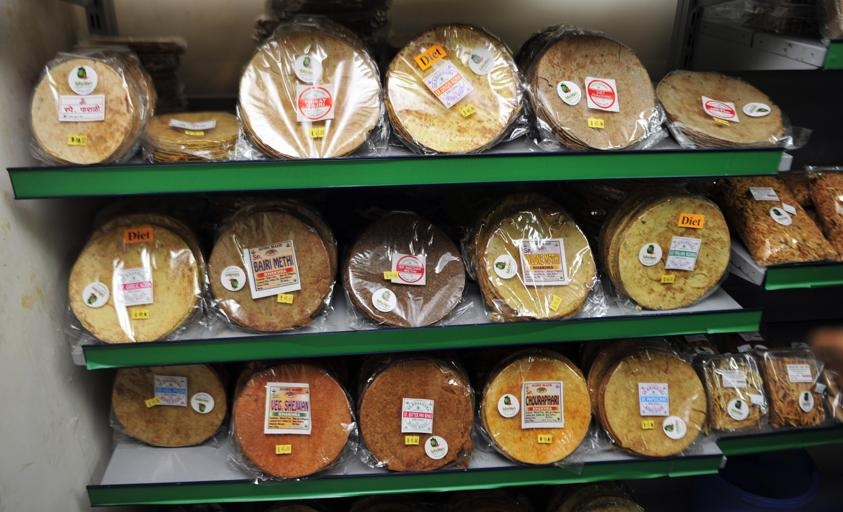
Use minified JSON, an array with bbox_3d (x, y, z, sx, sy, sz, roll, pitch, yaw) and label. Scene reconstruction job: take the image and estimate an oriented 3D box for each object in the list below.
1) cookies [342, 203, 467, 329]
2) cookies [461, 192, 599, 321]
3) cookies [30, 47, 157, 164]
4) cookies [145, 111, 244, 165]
[{"bbox_3d":[-0.065,0.049,2.194,0.438,0.350,0.343,12,27,25],"label":"cookies"},{"bbox_3d":[0.438,-0.005,2.212,0.422,0.407,0.386,-11,27,-24],"label":"cookies"},{"bbox_3d":[-1.181,-0.529,1.994,0.399,0.347,0.235,-10,26,-22],"label":"cookies"},{"bbox_3d":[-0.848,-0.438,2.055,0.273,0.094,0.228,7,18,8],"label":"cookies"}]
